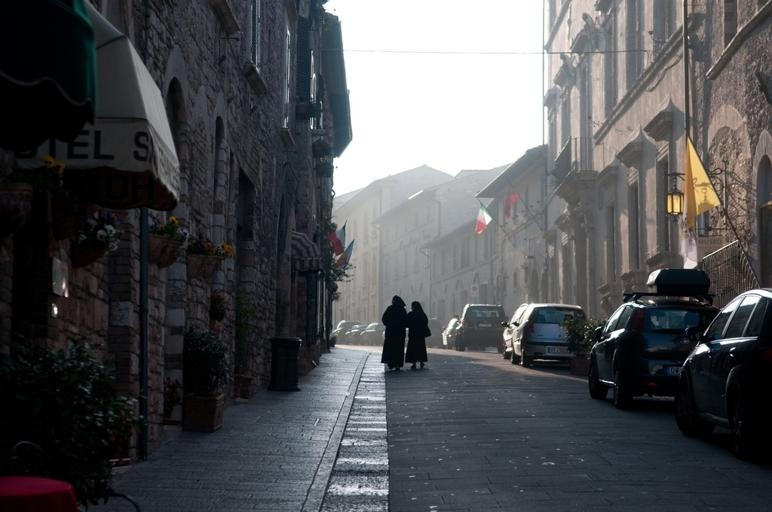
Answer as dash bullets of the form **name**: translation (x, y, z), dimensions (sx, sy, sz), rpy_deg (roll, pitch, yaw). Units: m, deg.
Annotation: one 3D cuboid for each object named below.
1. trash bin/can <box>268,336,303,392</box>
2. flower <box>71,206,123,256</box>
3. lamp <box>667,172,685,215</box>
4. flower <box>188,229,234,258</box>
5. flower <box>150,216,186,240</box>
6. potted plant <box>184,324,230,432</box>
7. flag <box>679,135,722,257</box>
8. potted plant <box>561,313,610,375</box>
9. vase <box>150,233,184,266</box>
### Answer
- **trash bin/can**: translation (-2.076, 2.186, 20.905), dimensions (0.603, 1.086, 0.715), rpy_deg (0, 0, -8)
- **flower**: translation (-3.337, -0.225, 12.013), dimensions (0.511, 0.391, 0.187), rpy_deg (-28, -27, -24)
- **lamp**: translation (6.324, -1.365, 22.395), dimensions (0.371, 0.867, 0.388), rpy_deg (2, 7, 28)
- **flower**: translation (-2.767, -0.207, 16.043), dimensions (0.369, 0.264, 0.445), rpy_deg (2, -6, 33)
- **flower**: translation (-2.972, -0.375, 14.042), dimensions (0.361, 0.298, 0.364), rpy_deg (6, 0, -18)
- **potted plant**: translation (-2.687, 1.813, 15.197), dimensions (0.731, 1.860, 1.260), rpy_deg (0, -6, -1)
- **flag**: translation (6.906, -1.245, 22.377), dimensions (0.722, 2.645, 3.841), rpy_deg (0, -1, 16)
- **potted plant**: translation (4.897, 2.263, 26.020), dimensions (1.004, 1.308, 0.833), rpy_deg (7, -6, -43)
- **vase**: translation (-2.983, -0.094, 13.891), dimensions (0.420, 0.452, 0.528), rpy_deg (0, 0, -8)
